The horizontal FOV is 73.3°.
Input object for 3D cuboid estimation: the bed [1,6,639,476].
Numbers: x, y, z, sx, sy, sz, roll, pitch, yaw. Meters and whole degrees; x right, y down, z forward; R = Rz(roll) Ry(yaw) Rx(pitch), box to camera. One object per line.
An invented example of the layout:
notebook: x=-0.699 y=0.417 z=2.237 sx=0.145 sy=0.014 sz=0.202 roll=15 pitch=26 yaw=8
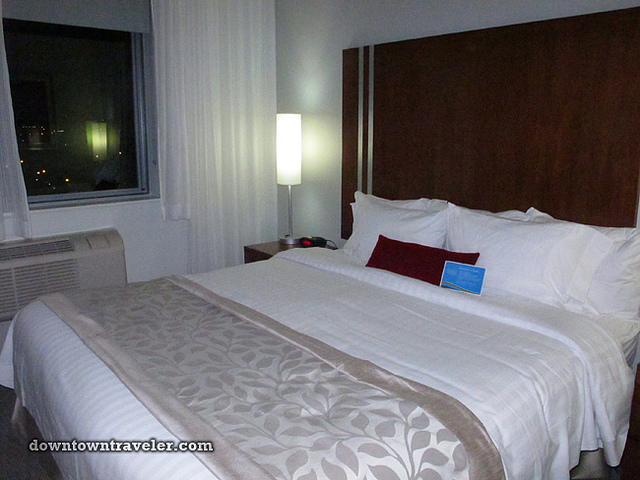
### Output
bed: x=-0.037 y=-0.152 z=2.630 sx=2.551 sy=1.841 sz=2.545 roll=-9 pitch=22 yaw=-37

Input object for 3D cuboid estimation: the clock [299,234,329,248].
clock: x=-0.061 y=0.004 z=3.889 sx=0.179 sy=0.069 sz=0.136 roll=9 pitch=8 yaw=25
